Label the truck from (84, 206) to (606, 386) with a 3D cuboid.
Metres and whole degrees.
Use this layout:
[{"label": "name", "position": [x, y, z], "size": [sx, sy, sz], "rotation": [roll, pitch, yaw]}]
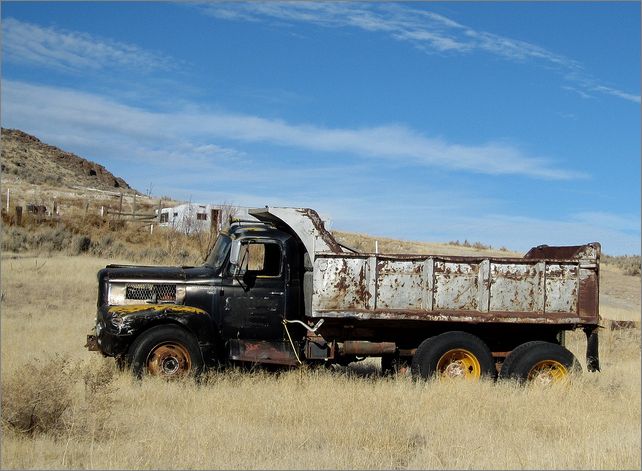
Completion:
[{"label": "truck", "position": [0.517, 1.469, 13.339], "size": [9.727, 3.803, 4.184], "rotation": [2, -6, -3]}]
